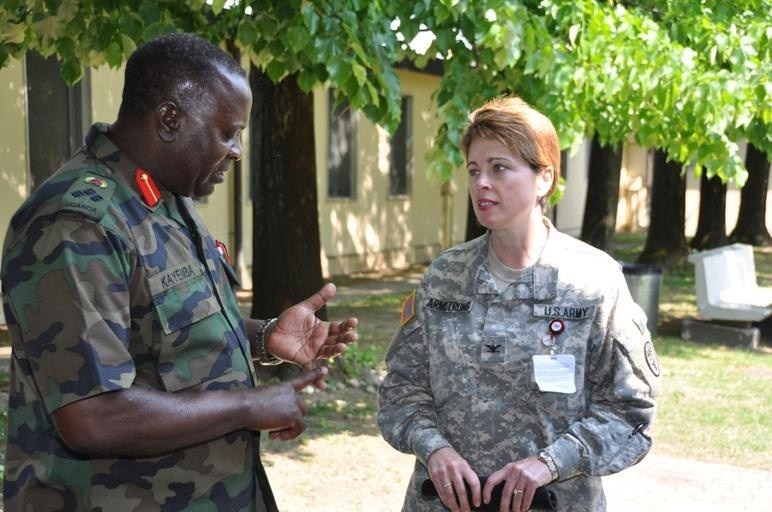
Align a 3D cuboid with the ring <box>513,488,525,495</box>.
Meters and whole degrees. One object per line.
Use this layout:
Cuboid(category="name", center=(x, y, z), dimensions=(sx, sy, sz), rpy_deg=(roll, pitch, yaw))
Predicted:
Cuboid(category="ring", center=(0.649, 1.158, 4.358), dimensions=(0.051, 0.028, 0.013), rpy_deg=(0, 1, 6))
